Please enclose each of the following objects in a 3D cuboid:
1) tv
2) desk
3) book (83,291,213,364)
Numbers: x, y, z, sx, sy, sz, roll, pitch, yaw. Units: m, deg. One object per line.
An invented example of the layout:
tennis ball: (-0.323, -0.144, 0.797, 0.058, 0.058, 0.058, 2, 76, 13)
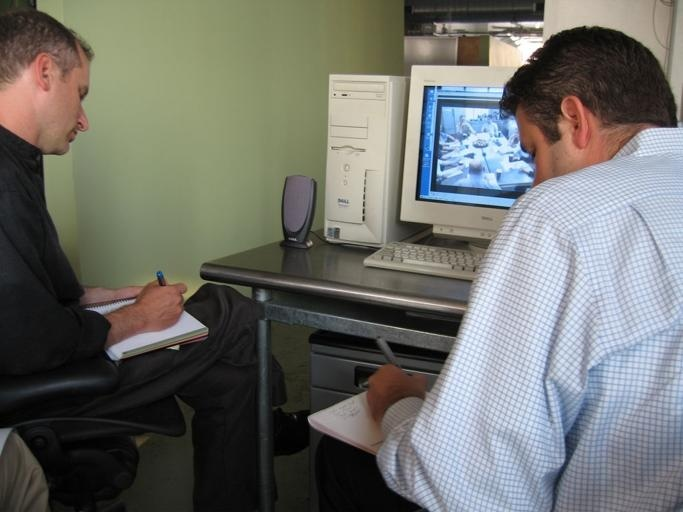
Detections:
tv: (0.423, -0.329, 1.847, 0.416, 0.502, 0.258, 3, 8, 6)
desk: (0.071, 0.121, 1.693, 0.693, 0.667, 0.714, 12, 18, 30)
book: (-0.522, 0.233, 1.604, 0.227, 0.055, 0.227, -9, 17, -39)
